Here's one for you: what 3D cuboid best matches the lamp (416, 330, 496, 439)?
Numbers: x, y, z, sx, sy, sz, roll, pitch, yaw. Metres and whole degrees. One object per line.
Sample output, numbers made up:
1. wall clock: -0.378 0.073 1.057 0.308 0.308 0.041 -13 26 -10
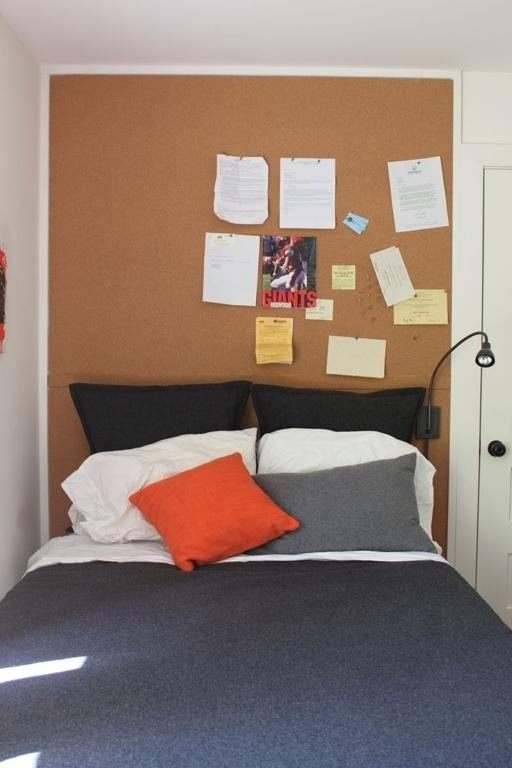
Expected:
1. lamp: 0.767 0.020 2.496 0.269 0.453 0.399 3 8 17
